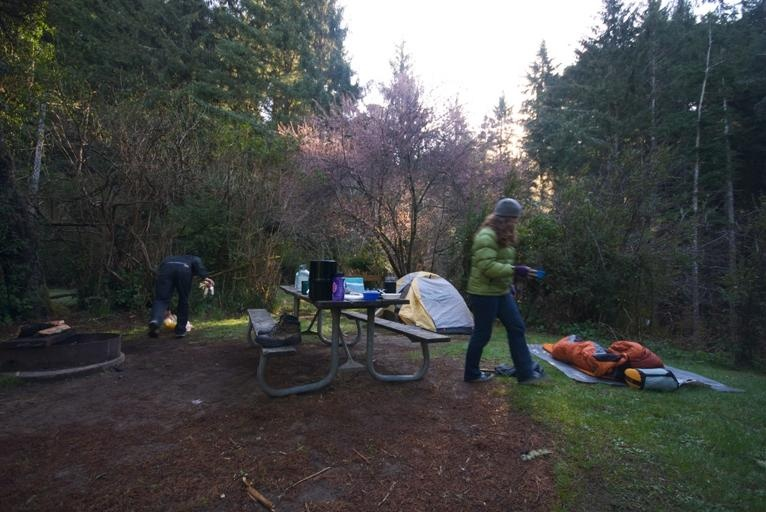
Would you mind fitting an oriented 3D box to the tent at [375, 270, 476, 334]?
[{"bbox_3d":[1.319,1.247,15.070,1.427,0.989,1.981,-2,12,-40],"label":"tent"}]

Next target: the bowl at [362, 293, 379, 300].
[{"bbox_3d":[-0.233,0.801,11.134,0.311,0.193,0.143,0,-2,-16],"label":"bowl"}]

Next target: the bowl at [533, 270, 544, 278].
[{"bbox_3d":[3.211,0.370,11.204,0.182,0.167,0.162,-5,9,-23],"label":"bowl"}]

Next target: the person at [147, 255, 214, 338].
[{"bbox_3d":[-5.233,1.004,14.055,1.381,2.090,0.773,0,-1,-25],"label":"person"}]

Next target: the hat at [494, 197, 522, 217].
[{"bbox_3d":[2.620,-1.026,11.416,0.409,0.267,0.424,3,10,13],"label":"hat"}]

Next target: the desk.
[{"bbox_3d":[-1.073,1.758,11.754,2.274,2.030,2.412,1,-2,-31],"label":"desk"}]

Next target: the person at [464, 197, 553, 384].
[{"bbox_3d":[2.408,0.731,11.404,1.376,3.786,0.632,0,-1,-1],"label":"person"}]

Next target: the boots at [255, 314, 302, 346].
[{"bbox_3d":[-2.106,1.568,11.194,0.637,0.479,0.776,0,-6,-11],"label":"boots"}]
